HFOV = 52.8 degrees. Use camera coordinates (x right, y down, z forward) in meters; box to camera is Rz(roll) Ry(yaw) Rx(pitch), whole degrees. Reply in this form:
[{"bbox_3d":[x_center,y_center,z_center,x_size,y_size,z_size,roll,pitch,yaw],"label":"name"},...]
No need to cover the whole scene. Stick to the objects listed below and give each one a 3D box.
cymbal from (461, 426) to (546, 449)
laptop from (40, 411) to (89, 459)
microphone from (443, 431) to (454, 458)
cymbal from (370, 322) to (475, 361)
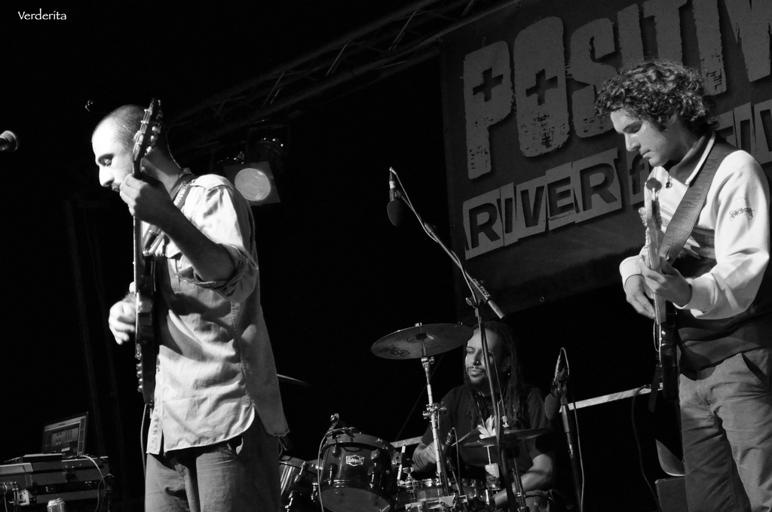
[{"bbox_3d":[0.845,1.335,5.604,0.368,0.072,0.403,-8,-1,21],"label":"cymbal"},{"bbox_3d":[-2.584,1.465,6.159,0.382,0.362,0.337,-11,-22,6],"label":"laptop"},{"bbox_3d":[0.510,1.523,6.298,0.106,0.210,0.432,-6,-18,4],"label":"microphone"},{"bbox_3d":[0.308,0.741,6.543,0.884,0.208,0.931,3,-17,4],"label":"cymbal"}]
